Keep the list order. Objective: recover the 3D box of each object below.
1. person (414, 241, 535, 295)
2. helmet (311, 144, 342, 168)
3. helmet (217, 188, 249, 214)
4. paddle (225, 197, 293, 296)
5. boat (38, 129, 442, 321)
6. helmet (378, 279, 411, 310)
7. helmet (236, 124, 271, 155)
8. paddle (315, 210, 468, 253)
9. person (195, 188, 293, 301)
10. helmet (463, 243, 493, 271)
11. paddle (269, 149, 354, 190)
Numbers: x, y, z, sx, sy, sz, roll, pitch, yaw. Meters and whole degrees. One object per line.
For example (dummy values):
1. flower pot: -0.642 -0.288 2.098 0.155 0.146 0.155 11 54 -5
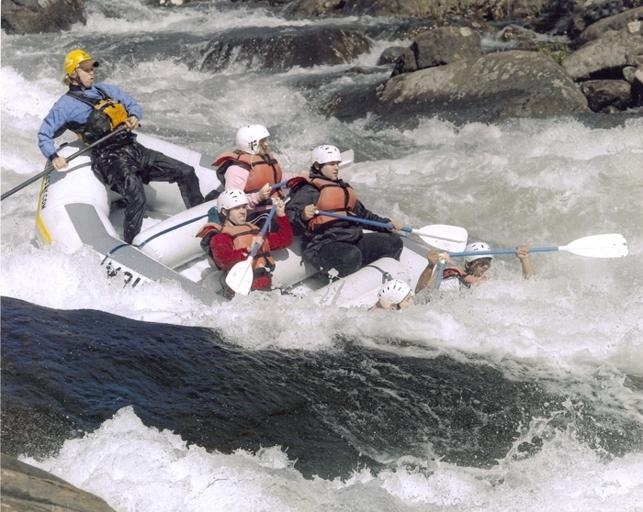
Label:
1. person: 1.829 0.182 13.157 0.972 0.302 0.821 -2 47 -4
2. helmet: 0.026 -1.331 13.137 0.342 0.180 0.269 26 28 33
3. helmet: -1.135 -0.715 12.621 0.366 0.237 0.258 2 3 14
4. paddle: -0.787 -0.175 12.730 0.438 0.177 1.502 29 67 -5
5. boat: -1.447 0.073 12.952 4.848 0.855 2.269 20 44 -4
6. helmet: 0.879 0.482 12.485 0.442 0.389 0.309 9 28 18
7. helmet: -0.965 -1.587 13.375 0.497 0.363 0.327 -8 27 -3
8. paddle: 0.880 -0.315 13.538 2.294 0.398 0.146 13 -16 -23
9. person: -0.935 -0.207 12.704 1.150 0.653 1.395 -9 60 -37
10. helmet: 2.033 0.049 13.371 0.361 0.415 0.369 2 58 -4
11. paddle: -0.174 -1.352 14.042 1.044 0.458 0.553 -25 3 19
